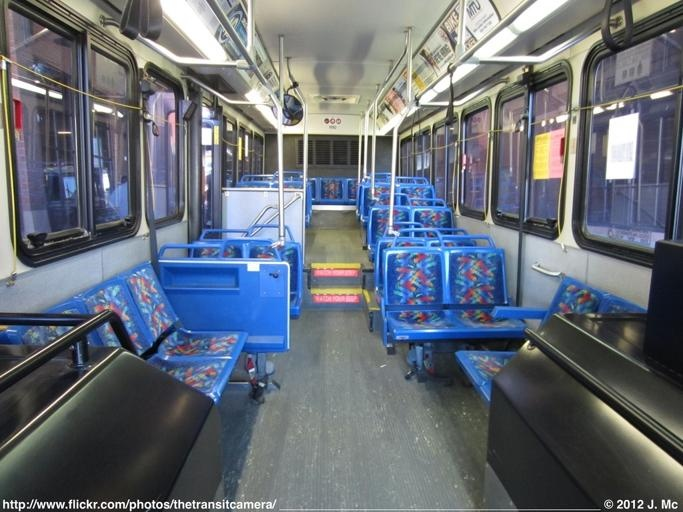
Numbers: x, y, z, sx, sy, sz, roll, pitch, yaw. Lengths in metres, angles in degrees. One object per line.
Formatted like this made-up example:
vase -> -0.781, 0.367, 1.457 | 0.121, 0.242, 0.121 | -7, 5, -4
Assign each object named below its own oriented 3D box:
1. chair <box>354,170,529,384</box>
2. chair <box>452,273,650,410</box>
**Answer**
chair -> 0.940, 0.128, 4.838 | 1.115, 1.182, 2.438 | -1, 16, -1
chair -> 1.370, 0.516, 3.151 | 0.862, 0.958, 1.100 | 1, 6, -6
